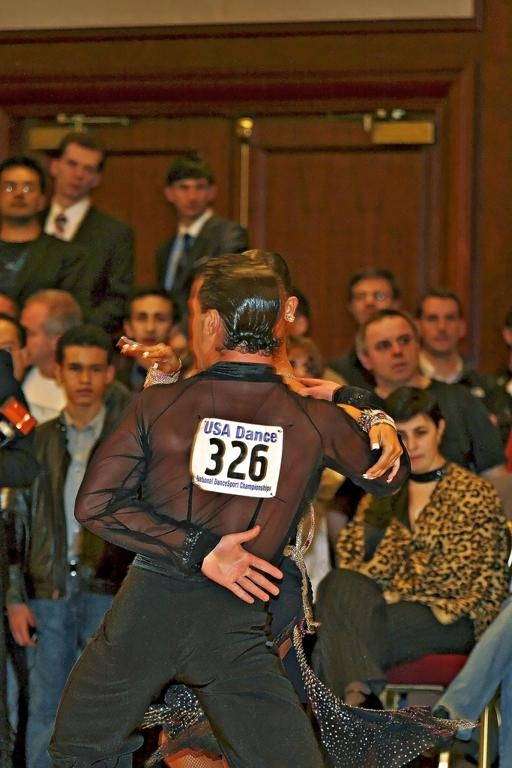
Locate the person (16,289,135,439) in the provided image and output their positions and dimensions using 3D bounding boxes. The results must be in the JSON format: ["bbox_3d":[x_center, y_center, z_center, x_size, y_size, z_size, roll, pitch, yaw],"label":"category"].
[{"bbox_3d":[-0.843,-0.076,3.876,0.744,0.714,0.394,-1,-28,-10],"label":"person"}]

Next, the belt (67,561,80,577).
[{"bbox_3d":[-0.770,0.783,3.523,0.043,0.050,0.013,-3,-7,2],"label":"belt"}]
